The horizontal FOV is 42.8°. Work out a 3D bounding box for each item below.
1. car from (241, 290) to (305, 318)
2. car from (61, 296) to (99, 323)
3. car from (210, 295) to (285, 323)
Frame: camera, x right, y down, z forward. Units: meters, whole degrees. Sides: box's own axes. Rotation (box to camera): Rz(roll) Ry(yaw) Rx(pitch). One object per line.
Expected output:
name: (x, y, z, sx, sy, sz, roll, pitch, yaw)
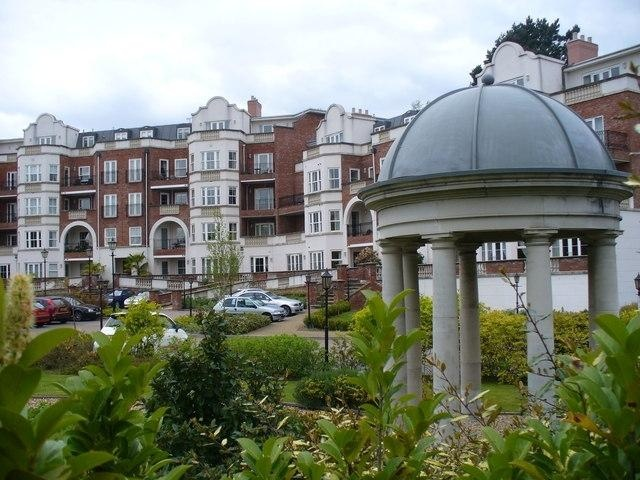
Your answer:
car: (-2.285, 2.928, 38.151, 2.609, 0.864, 1.222, 1, 3, 10)
car: (-11.089, 3.244, 38.483, 2.440, 0.835, 1.131, 0, 1, 18)
car: (-2.949, 2.996, 35.788, 2.729, 1.211, 2.307, -2, -5, 3)
